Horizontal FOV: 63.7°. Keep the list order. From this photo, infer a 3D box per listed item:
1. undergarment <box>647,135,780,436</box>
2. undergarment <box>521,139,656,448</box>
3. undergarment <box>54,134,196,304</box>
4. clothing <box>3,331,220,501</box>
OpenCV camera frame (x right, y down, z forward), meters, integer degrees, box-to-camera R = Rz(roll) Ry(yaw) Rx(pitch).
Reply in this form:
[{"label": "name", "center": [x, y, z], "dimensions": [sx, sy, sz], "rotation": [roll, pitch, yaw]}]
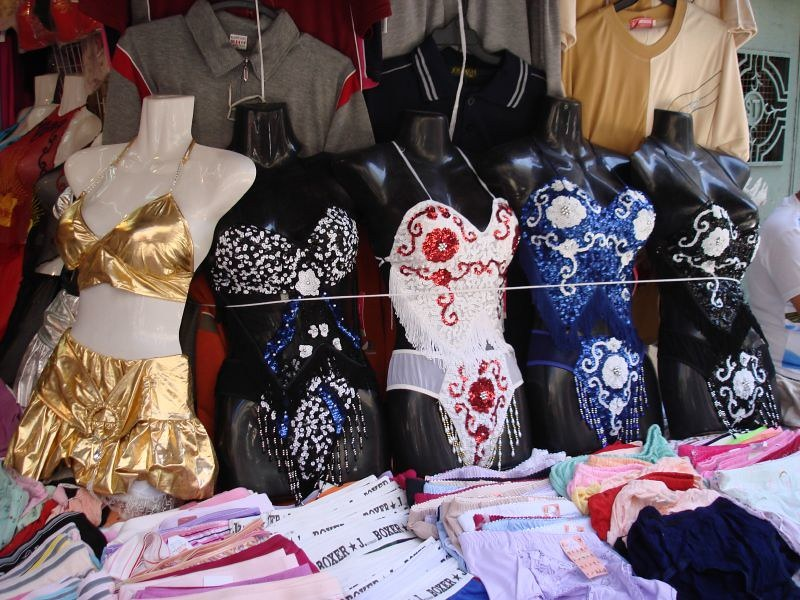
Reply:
[{"label": "undergarment", "center": [1.217, -0.072, 2.476], "dimensions": [0.536, 1.139, 0.315], "rotation": [-10, 8, -26]}, {"label": "undergarment", "center": [0.680, -0.031, 2.324], "dimensions": [0.561, 1.088, 0.266], "rotation": [-11, 8, -27]}, {"label": "undergarment", "center": [-0.767, -0.286, 2.063], "dimensions": [0.456, 0.569, 0.286], "rotation": [5, -12, 16]}, {"label": "clothing", "center": [-0.857, 0.336, 1.974], "dimensions": [0.691, 0.552, 0.393], "rotation": [7, 7, 1]}]
